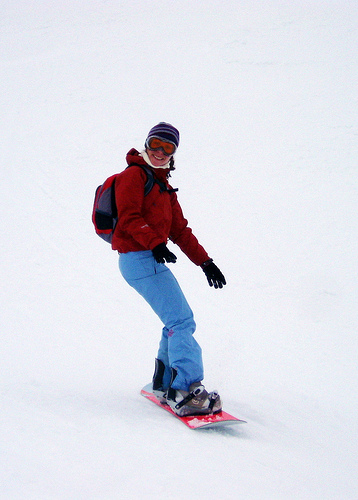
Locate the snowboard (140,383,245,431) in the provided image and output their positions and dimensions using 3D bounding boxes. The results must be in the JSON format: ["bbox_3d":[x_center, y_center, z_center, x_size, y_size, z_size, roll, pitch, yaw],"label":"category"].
[{"bbox_3d":[0.050,1.129,4.511,0.811,0.120,0.386,8,0,38],"label":"snowboard"}]

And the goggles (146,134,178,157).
[{"bbox_3d":[-0.125,-0.732,4.568,0.226,0.157,0.119,10,0,-4],"label":"goggles"}]

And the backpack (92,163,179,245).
[{"bbox_3d":[-0.280,-0.301,4.471,0.464,0.490,0.575,2,-2,-40],"label":"backpack"}]
